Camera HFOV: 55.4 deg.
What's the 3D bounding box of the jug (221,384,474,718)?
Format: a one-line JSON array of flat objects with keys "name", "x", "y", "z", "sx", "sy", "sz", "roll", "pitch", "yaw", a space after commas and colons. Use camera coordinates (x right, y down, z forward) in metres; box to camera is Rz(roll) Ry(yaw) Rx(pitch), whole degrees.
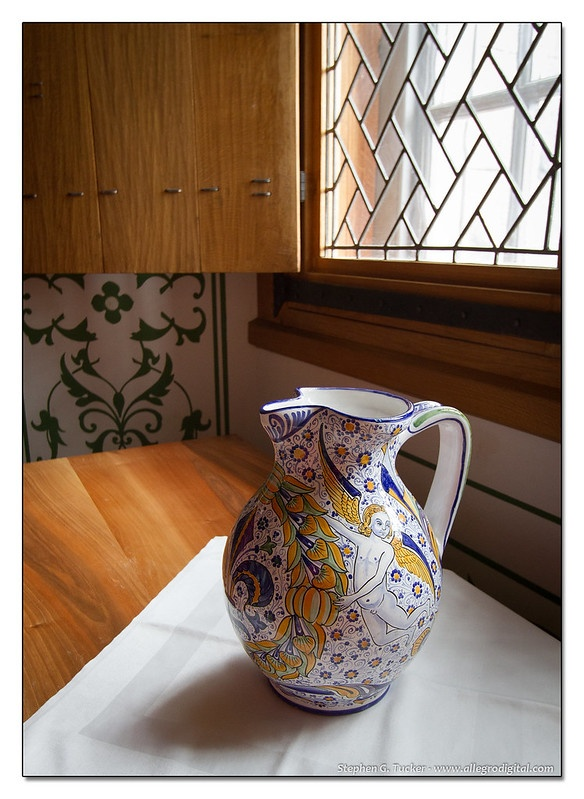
[{"name": "jug", "x": 0.042, "y": 0.101, "z": 0.380, "sx": 0.155, "sy": 0.200, "sz": 0.144, "roll": -1, "pitch": 3, "yaw": -18}]
